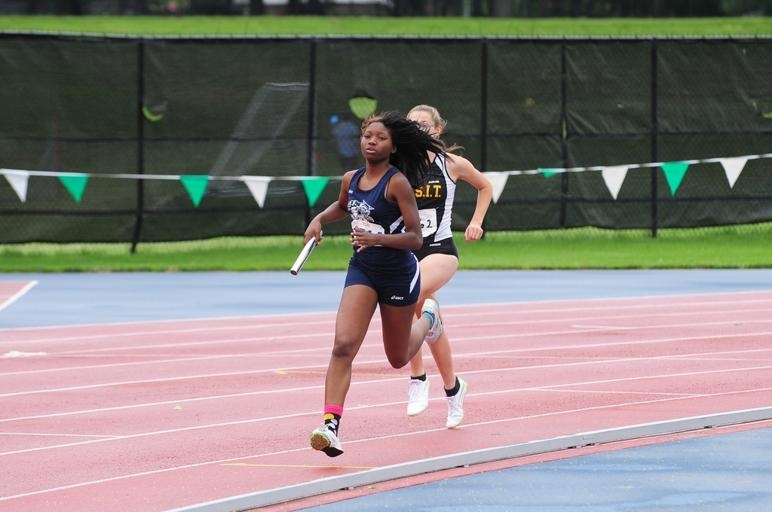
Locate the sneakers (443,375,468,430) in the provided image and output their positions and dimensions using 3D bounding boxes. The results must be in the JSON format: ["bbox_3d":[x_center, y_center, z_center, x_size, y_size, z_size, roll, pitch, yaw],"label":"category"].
[{"bbox_3d":[0.612,1.301,9.824,0.165,0.416,0.213,0,-11,37],"label":"sneakers"}]

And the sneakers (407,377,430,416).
[{"bbox_3d":[0.234,1.234,9.848,0.150,0.162,0.398,-5,34,23],"label":"sneakers"}]

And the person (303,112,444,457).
[{"bbox_3d":[-0.098,0.230,9.192,0.942,2.734,1.475,5,14,11],"label":"person"}]

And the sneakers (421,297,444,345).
[{"bbox_3d":[0.455,0.559,9.654,0.162,0.373,0.187,-4,15,29],"label":"sneakers"}]

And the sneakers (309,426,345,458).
[{"bbox_3d":[-0.478,1.457,8.841,0.151,0.359,0.166,-21,49,20],"label":"sneakers"}]
